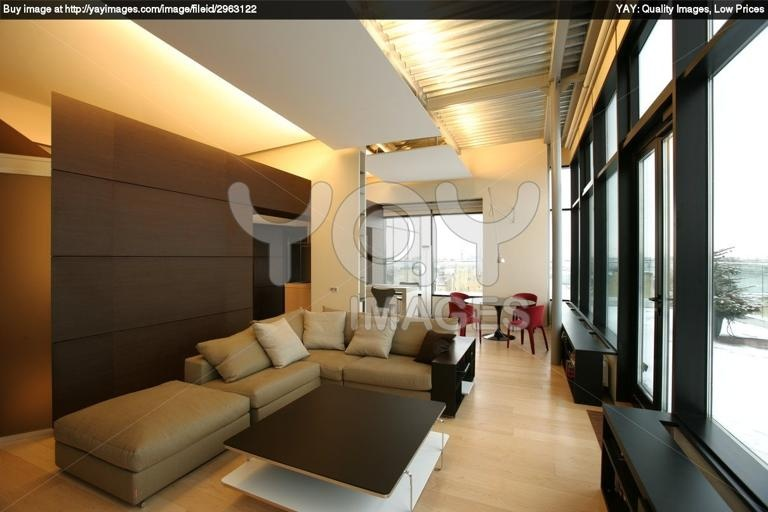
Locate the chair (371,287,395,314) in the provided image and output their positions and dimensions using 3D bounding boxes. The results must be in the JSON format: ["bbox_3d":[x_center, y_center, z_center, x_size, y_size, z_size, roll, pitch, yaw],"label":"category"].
[{"bbox_3d":[-0.010,0.706,7.680,0.311,0.449,0.332,2,5,14],"label":"chair"}]

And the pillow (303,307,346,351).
[{"bbox_3d":[-0.671,0.835,5.299,0.436,0.410,0.155,1,-27,-5],"label":"pillow"}]

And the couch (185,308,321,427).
[{"bbox_3d":[-1.236,1.100,4.562,0.683,0.642,1.342,-1,-2,21],"label":"couch"}]

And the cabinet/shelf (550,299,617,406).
[{"bbox_3d":[2.300,1.049,5.465,0.536,1.038,1.535,-1,-1,19],"label":"cabinet/shelf"}]

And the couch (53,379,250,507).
[{"bbox_3d":[-1.924,1.332,3.719,0.851,0.396,0.937,0,0,27],"label":"couch"}]
